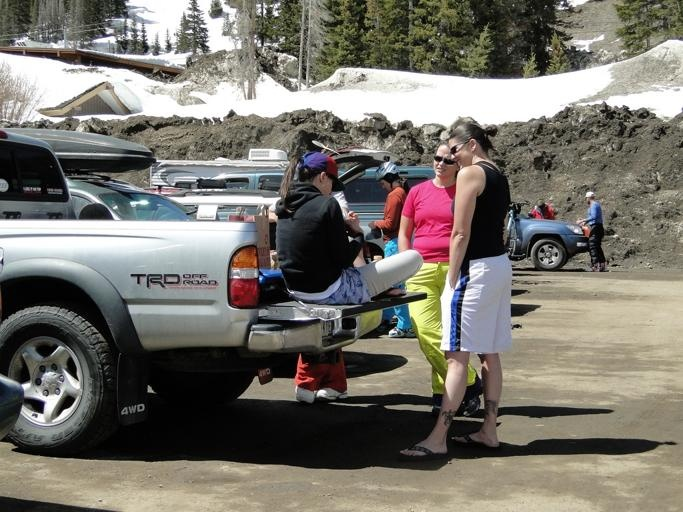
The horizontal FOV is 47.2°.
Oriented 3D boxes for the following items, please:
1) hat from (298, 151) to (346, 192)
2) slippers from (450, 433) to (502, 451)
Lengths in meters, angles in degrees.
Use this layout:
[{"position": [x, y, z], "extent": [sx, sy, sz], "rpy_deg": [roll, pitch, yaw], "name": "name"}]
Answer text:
[{"position": [-0.153, -0.777, 7.107], "extent": [0.490, 0.212, 0.284], "rpy_deg": [10, 2, -34], "name": "hat"}, {"position": [1.147, 1.591, 6.705], "extent": [0.414, 0.088, 0.148], "rpy_deg": [4, -2, 22], "name": "slippers"}]
